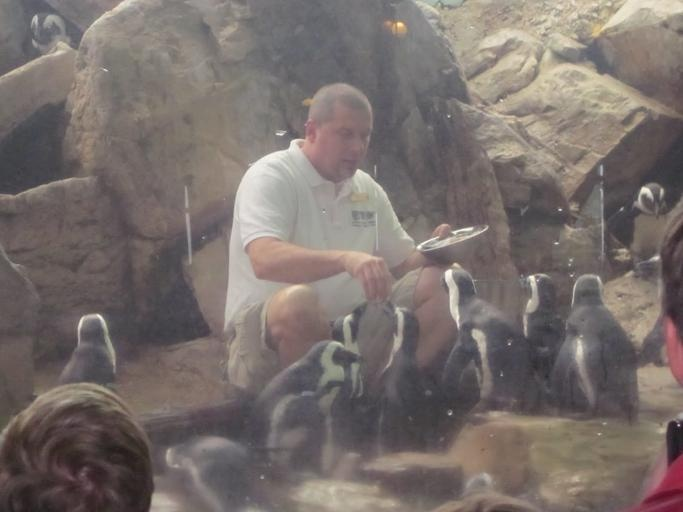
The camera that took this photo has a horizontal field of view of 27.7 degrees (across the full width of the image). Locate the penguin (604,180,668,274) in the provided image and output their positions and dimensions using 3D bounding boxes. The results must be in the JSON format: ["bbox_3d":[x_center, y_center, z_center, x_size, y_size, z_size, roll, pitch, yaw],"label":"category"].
[{"bbox_3d":[1.059,-0.124,4.972,0.175,0.324,0.164,6,17,28],"label":"penguin"}]

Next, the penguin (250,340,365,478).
[{"bbox_3d":[-0.123,0.506,5.032,0.452,0.511,0.354,9,19,-25],"label":"penguin"}]

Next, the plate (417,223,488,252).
[{"bbox_3d":[0.405,-0.092,4.971,0.214,0.100,0.250,5,10,25],"label":"plate"}]

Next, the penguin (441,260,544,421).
[{"bbox_3d":[0.519,0.268,5.024,0.344,0.531,0.308,-10,18,-35],"label":"penguin"}]
